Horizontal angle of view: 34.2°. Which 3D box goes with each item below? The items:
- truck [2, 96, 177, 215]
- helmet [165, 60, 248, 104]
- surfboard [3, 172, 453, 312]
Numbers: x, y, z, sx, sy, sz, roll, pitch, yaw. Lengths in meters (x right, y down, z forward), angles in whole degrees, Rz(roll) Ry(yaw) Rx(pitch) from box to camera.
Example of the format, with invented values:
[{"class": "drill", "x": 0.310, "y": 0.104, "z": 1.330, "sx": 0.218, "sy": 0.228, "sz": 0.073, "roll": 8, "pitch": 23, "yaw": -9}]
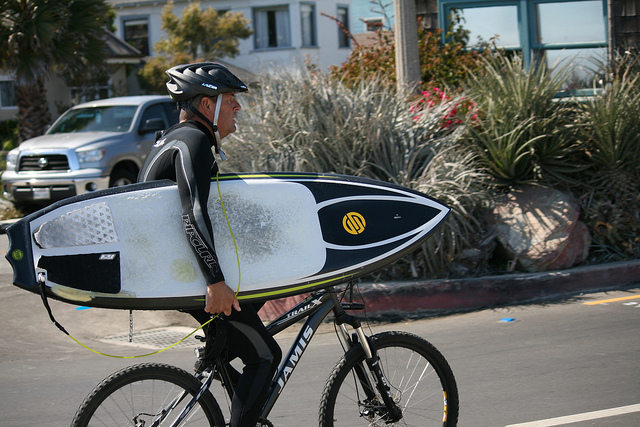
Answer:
[{"class": "truck", "x": -4.473, "y": -1.124, "z": 20.068, "sx": 2.463, "sy": 1.657, "sz": 4.122, "roll": -1, "pitch": 2, "yaw": 33}, {"class": "helmet", "x": -1.220, "y": -1.374, "z": 10.888, "sx": 0.743, "sy": 0.249, "sz": 0.456, "roll": -3, "pitch": 11, "yaw": -1}, {"class": "surfboard", "x": -1.051, "y": 0.287, "z": 10.870, "sx": 4.291, "sy": 1.347, "sz": 0.538, "roll": -3, "pitch": 13, "yaw": -10}]
